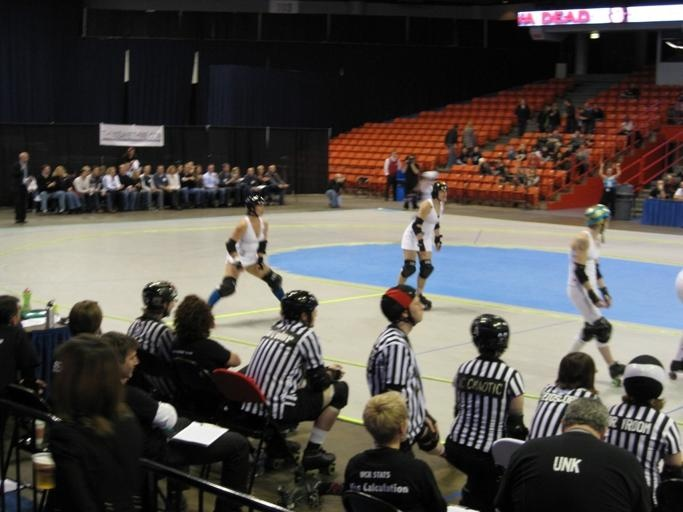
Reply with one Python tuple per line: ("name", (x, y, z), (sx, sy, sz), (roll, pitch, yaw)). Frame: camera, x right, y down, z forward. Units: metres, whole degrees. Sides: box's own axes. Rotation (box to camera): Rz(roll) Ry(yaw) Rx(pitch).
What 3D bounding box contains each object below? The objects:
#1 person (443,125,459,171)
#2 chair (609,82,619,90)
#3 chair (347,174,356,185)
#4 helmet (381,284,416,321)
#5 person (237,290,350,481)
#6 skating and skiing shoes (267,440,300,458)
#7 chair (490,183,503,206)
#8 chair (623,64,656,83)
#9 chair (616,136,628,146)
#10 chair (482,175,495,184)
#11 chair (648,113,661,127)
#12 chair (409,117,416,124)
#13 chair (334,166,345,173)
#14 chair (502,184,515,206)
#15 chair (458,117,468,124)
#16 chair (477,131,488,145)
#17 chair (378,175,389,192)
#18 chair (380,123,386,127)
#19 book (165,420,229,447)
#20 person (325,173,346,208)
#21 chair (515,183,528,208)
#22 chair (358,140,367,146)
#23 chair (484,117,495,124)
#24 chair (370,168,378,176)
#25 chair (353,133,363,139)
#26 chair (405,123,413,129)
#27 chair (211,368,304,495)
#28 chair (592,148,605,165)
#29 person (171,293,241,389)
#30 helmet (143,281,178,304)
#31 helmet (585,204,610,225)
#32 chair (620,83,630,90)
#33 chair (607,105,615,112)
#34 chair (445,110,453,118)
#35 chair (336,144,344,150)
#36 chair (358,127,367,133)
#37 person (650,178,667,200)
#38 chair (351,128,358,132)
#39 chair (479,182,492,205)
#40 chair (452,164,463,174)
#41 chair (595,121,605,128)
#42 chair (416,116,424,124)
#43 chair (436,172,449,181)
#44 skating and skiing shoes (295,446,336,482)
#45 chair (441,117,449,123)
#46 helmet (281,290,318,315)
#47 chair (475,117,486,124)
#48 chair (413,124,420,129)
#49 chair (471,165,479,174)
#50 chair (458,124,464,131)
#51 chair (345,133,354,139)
("person", (5.483, -5.405, 30.358), (0.584, 2.105, 1.315), (0, 7, 11))
("chair", (15.223, -9.418, 34.166), (0.455, 0.309, 0.431), (-2, 12, -9))
("chair", (0.577, -3.922, 31.953), (0.464, 0.502, 0.894), (-6, 8, -35))
("helmet", (0.470, 0.374, 5.148), (0.329, 0.302, 0.242), (4, 3, -10))
("person", (-0.445, 1.276, 5.889), (1.117, 1.636, 0.940), (-17, 32, -38))
("skating and skiing shoes", (-0.482, 1.689, 5.375), (0.190, 0.096, 0.314), (4, 4, 37))
("chair", (6.982, -2.696, 27.303), (0.565, 0.951, 0.273), (2, 8, 23))
("chair", (16.938, -10.155, 34.554), (1.423, 1.246, 2.101), (2, 7, 24))
("chair", (13.055, -5.314, 28.468), (0.495, 0.333, 0.473), (-1, 5, 0))
("chair", (6.665, -3.447, 27.778), (0.432, 0.520, 0.456), (5, 8, 24))
("chair", (14.997, -6.426, 29.226), (0.580, 0.448, 0.724), (0, 4, 1))
("chair", (4.097, -7.707, 35.236), (0.394, 0.253, 0.376), (0, 0, -3))
("chair", (-0.134, -4.658, 33.150), (0.393, 0.428, 0.970), (-3, 6, -13))
("chair", (7.425, -2.624, 27.033), (0.597, 0.972, 0.286), (2, 8, 23))
("chair", (6.740, -7.412, 33.834), (0.470, 0.525, 0.405), (3, 10, 17))
("chair", (7.521, -6.093, 31.930), (0.667, 0.732, 0.682), (1, 2, 3))
("chair", (2.117, -3.514, 30.351), (0.322, 0.791, 0.596), (3, -8, -4))
("chair", (2.511, -7.533, 35.562), (0.257, 0.176, 0.251), (-4, 5, -40))
("book", (-0.960, 1.205, 4.146), (0.270, 0.089, 0.257), (1, 6, 20))
("person", (-0.249, -2.799, 26.705), (0.693, 1.508, 1.571), (-1, 6, -1))
("chair", (7.901, -2.596, 26.739), (0.654, 0.816, 0.859), (2, 6, 25))
("chair", (1.242, -6.306, 34.391), (0.311, 0.209, 0.297), (-1, 3, -27))
("chair", (7.913, -7.170, 32.654), (0.380, 0.257, 0.366), (0, 1, -21))
("chair", (1.701, -4.308, 31.617), (0.265, 0.321, 0.485), (8, -6, -42))
("chair", (1.103, -6.804, 35.254), (0.436, 0.254, 0.213), (1, 0, 5))
("chair", (3.845, -7.279, 34.657), (0.457, 0.398, 0.225), (2, 2, -8))
("chair", (-0.828, 1.419, 5.051), (0.652, 1.004, 0.705), (0, 7, 12))
("chair", (11.761, -4.512, 27.964), (0.537, 0.780, 0.660), (2, 7, 27))
("person", (-1.257, 0.745, 5.362), (0.488, 0.735, 0.377), (0, 7, 8))
("helmet", (-1.754, 0.355, 5.948), (0.287, 0.248, 0.218), (-10, 21, -18))
("helmet", (3.340, -0.522, 7.989), (0.273, 0.255, 0.392), (1, 7, 21))
("chair", (15.589, -9.176, 33.558), (0.420, 0.281, 0.391), (0, 3, -8))
("chair", (13.923, -7.548, 31.661), (0.467, 0.248, 0.445), (0, 5, -5))
("chair", (6.162, -7.998, 34.757), (0.387, 0.378, 0.639), (0, 6, 11))
("chair", (-0.034, -6.120, 34.925), (0.472, 0.287, 0.244), (1, -2, 0))
("chair", (1.279, -7.381, 35.952), (0.460, 0.310, 0.440), (0, -1, -1))
("person", (12.386, -2.542, 23.780), (0.572, 0.641, 1.166), (2, 7, 27))
("chair", (0.798, -7.462, 36.297), (0.356, 0.240, 0.326), (1, 2, -4))
("chair", (6.515, -2.737, 27.548), (0.848, 1.003, 0.878), (5, 13, 23))
("chair", (5.641, -4.162, 29.485), (0.625, 0.476, 0.886), (-1, 6, 2))
("chair", (12.756, -6.450, 30.186), (0.511, 0.318, 0.352), (-1, 1, -13))
("chair", (4.490, -7.709, 35.060), (0.341, 0.433, 0.367), (-1, 16, -6))
("chair", (4.881, -3.723, 29.162), (0.584, 0.434, 0.893), (0, 6, 7))
("skating and skiing shoes", (-0.253, 1.767, 5.264), (0.365, 0.236, 0.210), (-2, 7, -17))
("chair", (5.844, -7.527, 34.232), (0.384, 0.327, 0.610), (-1, 6, 5))
("helmet", (-0.376, 0.403, 5.357), (0.263, 0.232, 0.202), (-22, 14, -6))
("chair", (7.454, -7.203, 32.941), (0.538, 0.476, 0.366), (-1, 16, -6))
("chair", (4.218, -7.182, 34.351), (0.380, 0.334, 0.189), (2, -2, 1))
("chair", (6.330, -4.035, 28.789), (0.336, 0.399, 0.743), (-4, 7, -23))
("chair", (6.576, -6.993, 33.531), (0.365, 0.249, 0.349), (-1, 3, -15))
("chair", (0.487, -6.981, 35.869), (0.367, 0.329, 0.194), (13, 24, 19))
